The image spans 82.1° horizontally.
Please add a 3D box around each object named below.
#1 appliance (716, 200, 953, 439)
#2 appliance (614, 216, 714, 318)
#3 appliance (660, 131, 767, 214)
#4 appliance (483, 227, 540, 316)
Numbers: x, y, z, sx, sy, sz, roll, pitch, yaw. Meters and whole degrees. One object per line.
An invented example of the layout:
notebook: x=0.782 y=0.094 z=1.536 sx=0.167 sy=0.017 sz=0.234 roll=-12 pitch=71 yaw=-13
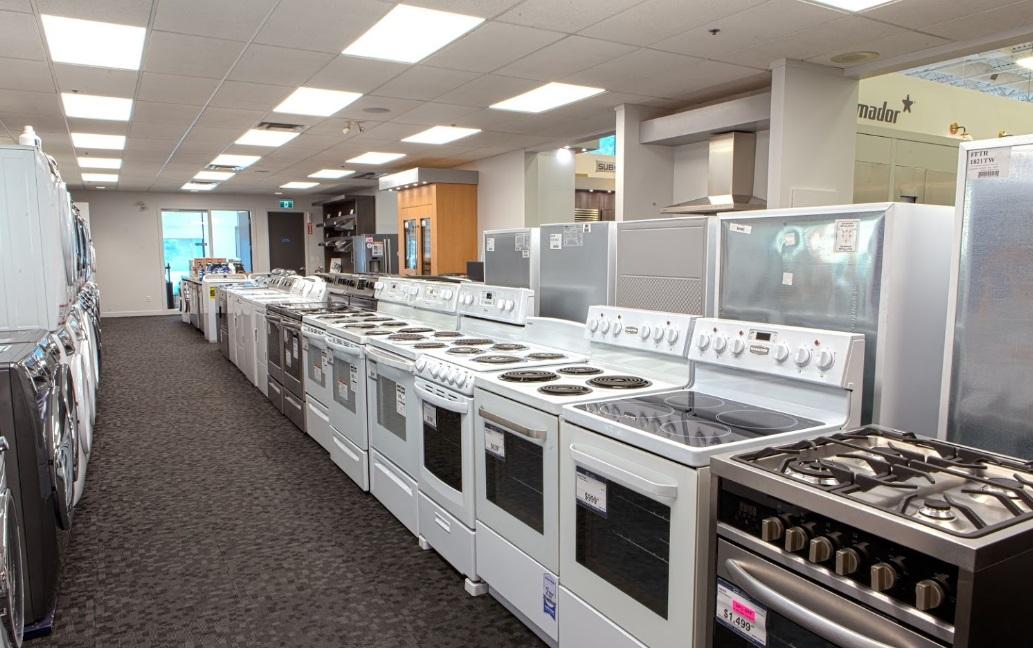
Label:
appliance: x=1.615 y=-0.006 z=3.217 sx=0.838 sy=1.318 sz=0.497 roll=11 pitch=29 yaw=43
appliance: x=0.915 y=-0.339 z=3.594 sx=0.370 sy=0.598 sz=0.666 roll=-3 pitch=5 yaw=-31
appliance: x=2.097 y=-1.614 z=6.417 sx=1.059 sy=0.755 sz=1.119 roll=-3 pitch=5 yaw=-18
appliance: x=0.020 y=-0.365 z=4.794 sx=0.496 sy=0.775 sz=0.305 roll=7 pitch=10 yaw=37
